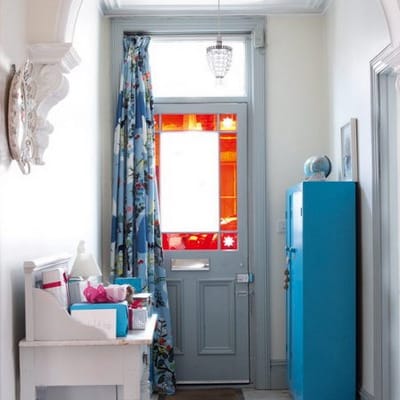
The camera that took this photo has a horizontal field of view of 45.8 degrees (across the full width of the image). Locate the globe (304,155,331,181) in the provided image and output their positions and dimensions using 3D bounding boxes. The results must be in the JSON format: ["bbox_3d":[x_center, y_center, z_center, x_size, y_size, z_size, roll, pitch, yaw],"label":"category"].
[{"bbox_3d":[0.754,-0.195,3.054,0.136,0.194,0.132,1,-1,6],"label":"globe"}]
